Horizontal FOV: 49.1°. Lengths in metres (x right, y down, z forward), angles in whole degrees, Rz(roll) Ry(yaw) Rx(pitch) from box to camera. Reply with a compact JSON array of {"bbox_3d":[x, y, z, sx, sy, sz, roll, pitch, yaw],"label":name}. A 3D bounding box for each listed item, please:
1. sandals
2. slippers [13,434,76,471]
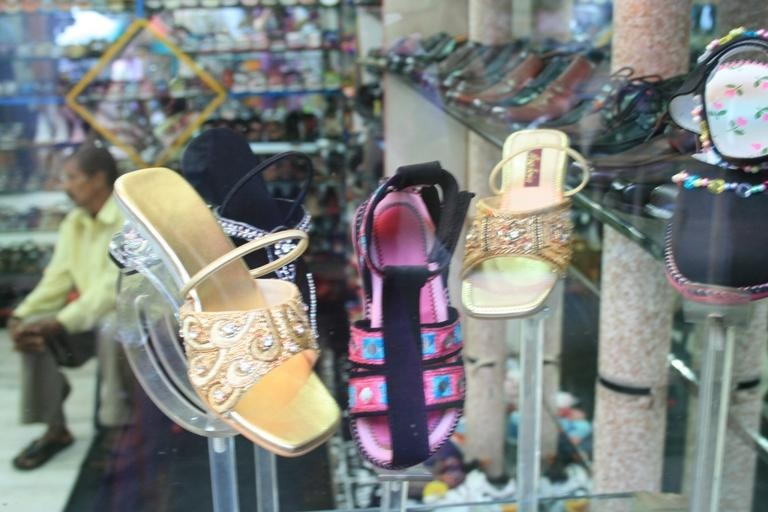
[{"bbox_3d":[0.037,0.128,1.481,0.236,0.547,0.139,-2,-19,4],"label":"sandals"},{"bbox_3d":[-0.659,0.378,1.633,0.115,0.039,0.054,-29,43,-24],"label":"slippers"}]
